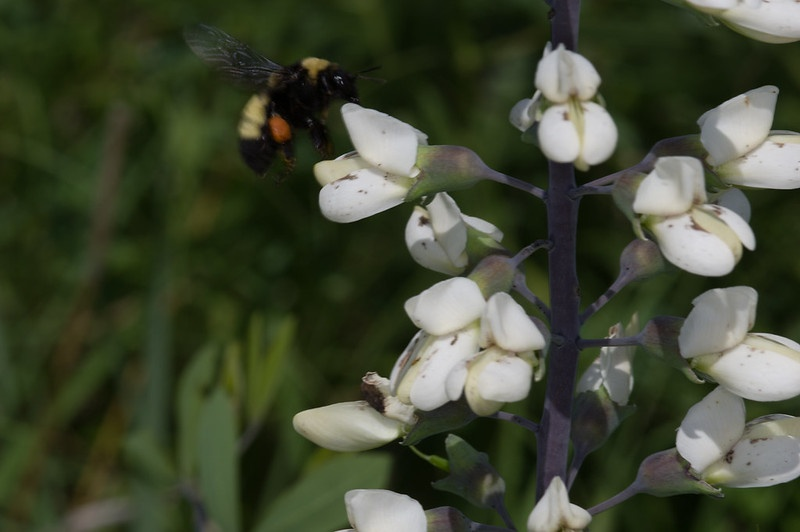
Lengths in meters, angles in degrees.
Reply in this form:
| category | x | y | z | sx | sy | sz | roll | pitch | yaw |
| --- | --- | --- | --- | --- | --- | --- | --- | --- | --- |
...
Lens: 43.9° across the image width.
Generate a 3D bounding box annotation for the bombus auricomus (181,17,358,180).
| category | x | y | z | sx | sy | sz | roll | pitch | yaw |
| --- | --- | --- | --- | --- | --- | --- | --- | --- | --- |
| bombus auricomus | -0.345 | -0.406 | 2.519 | 0.415 | 0.160 | 0.308 | 20 | 7 | 28 |
